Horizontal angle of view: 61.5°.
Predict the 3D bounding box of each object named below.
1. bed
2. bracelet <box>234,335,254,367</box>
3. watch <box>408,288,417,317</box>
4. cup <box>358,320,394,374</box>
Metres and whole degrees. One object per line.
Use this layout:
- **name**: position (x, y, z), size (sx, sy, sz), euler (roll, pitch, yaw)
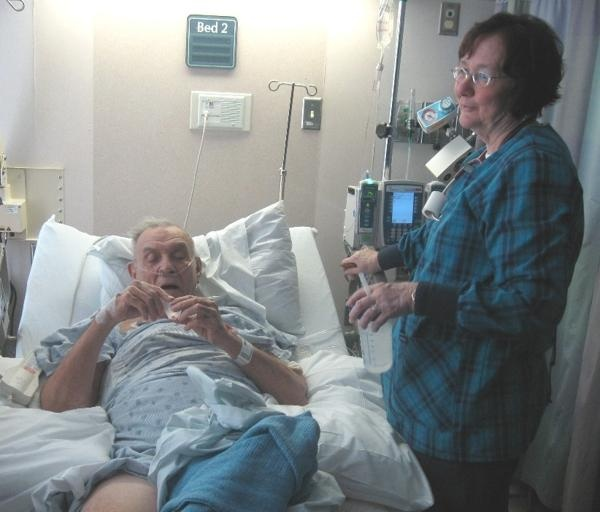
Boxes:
- **bed**: position (-0.043, 0.371, 1.454), size (0.778, 0.239, 0.836), euler (0, 30, -3)
- **bracelet**: position (-0.153, 0.262, 1.363), size (0.036, 0.060, 0.059), euler (38, 7, -8)
- **watch**: position (0.183, 0.071, 0.813), size (0.008, 0.029, 0.024), euler (-2, -9, 18)
- **cup**: position (0.142, 0.166, 0.926), size (0.044, 0.042, 0.125), euler (4, -25, 13)
